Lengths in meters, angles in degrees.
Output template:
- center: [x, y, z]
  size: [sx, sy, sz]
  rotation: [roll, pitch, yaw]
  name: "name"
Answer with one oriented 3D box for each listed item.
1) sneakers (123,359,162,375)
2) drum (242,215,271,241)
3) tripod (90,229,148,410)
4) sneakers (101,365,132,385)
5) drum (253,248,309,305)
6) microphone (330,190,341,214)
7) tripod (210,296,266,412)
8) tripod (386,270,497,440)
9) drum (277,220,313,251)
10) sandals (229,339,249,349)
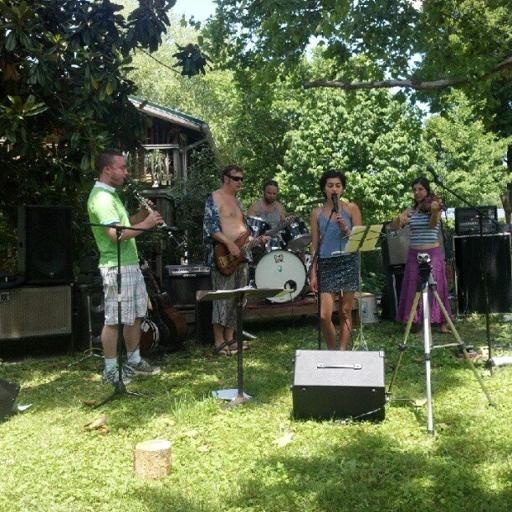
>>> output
- center: [-1.008, 0.959, 5.412]
  size: [0.271, 0.147, 0.133]
  rotation: [4, -5, -8]
  name: "sneakers"
- center: [0.017, -0.344, 7.188]
  size: [0.244, 0.238, 0.254]
  rotation: [7, -8, 20]
  name: "drum"
- center: [-1.036, 0.430, 4.726]
  size: [0.369, 1.348, 0.554]
  rotation: [-2, 0, -7]
  name: "tripod"
- center: [-1.164, 0.975, 5.087]
  size: [0.309, 0.163, 0.127]
  rotation: [4, -5, -3]
  name: "sneakers"
- center: [0.271, 0.239, 7.259]
  size: [0.560, 0.674, 0.233]
  rotation: [-1, -1, -24]
  name: "drum"
- center: [0.647, -0.427, 5.063]
  size: [0.062, 0.169, 0.346]
  rotation: [-2, -1, 7]
  name: "microphone"
- center: [-0.180, 0.658, 4.715]
  size: [0.337, 0.833, 0.841]
  rotation: [-2, -1, -5]
  name: "tripod"
- center: [1.567, 0.833, 5.352]
  size: [0.644, 1.035, 0.615]
  rotation: [-4, 14, 3]
  name: "tripod"
- center: [0.490, -0.207, 7.598]
  size: [0.311, 0.343, 0.358]
  rotation: [-6, -33, -3]
  name: "drum"
- center: [-0.186, 0.914, 6.377]
  size: [0.242, 0.081, 0.102]
  rotation: [-2, 3, -3]
  name: "sandals"
